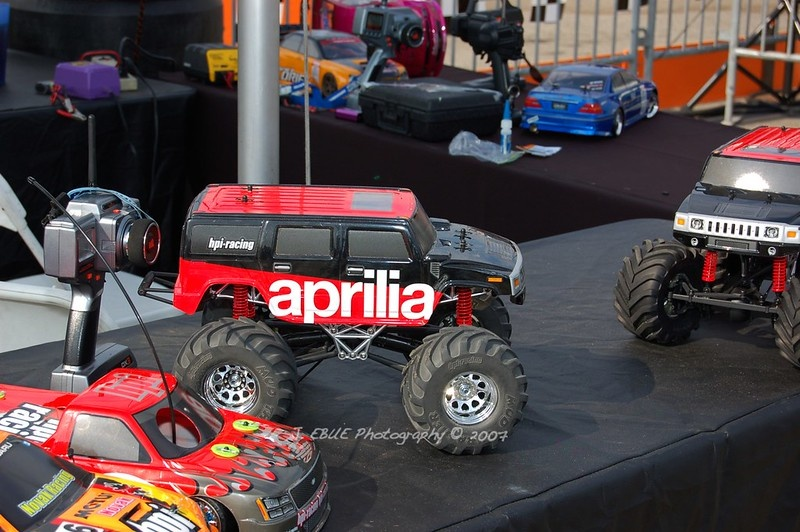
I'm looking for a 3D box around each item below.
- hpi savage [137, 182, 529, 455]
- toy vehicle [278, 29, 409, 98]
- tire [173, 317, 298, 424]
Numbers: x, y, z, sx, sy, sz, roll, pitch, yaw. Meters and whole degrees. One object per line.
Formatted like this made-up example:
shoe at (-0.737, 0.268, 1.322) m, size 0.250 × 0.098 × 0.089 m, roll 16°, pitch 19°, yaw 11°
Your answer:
hpi savage at (-0.365, 0.404, 5.690) m, size 2.769 × 1.675 × 1.680 m, roll 0°, pitch 14°, yaw 0°
toy vehicle at (-1.130, -3.309, 11.999) m, size 2.323 × 1.028 × 1.384 m, roll 23°, pitch 30°, yaw 37°
tire at (-1.169, 0.796, 5.210) m, size 0.821 × 0.842 × 0.294 m, roll 5°, pitch 17°, yaw 4°
